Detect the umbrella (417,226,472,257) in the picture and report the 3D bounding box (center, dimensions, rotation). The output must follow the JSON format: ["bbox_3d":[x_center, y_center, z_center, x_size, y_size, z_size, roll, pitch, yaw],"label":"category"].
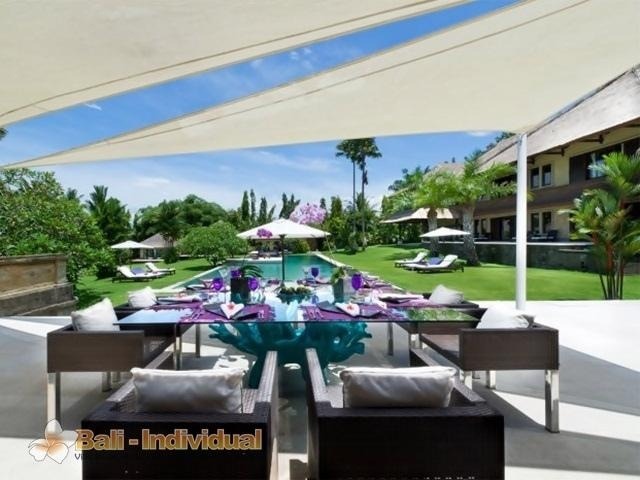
[{"bbox_3d":[5.007,-0.185,18.356,2.042,1.121,1.795,-2,7,-4],"label":"umbrella"}]
